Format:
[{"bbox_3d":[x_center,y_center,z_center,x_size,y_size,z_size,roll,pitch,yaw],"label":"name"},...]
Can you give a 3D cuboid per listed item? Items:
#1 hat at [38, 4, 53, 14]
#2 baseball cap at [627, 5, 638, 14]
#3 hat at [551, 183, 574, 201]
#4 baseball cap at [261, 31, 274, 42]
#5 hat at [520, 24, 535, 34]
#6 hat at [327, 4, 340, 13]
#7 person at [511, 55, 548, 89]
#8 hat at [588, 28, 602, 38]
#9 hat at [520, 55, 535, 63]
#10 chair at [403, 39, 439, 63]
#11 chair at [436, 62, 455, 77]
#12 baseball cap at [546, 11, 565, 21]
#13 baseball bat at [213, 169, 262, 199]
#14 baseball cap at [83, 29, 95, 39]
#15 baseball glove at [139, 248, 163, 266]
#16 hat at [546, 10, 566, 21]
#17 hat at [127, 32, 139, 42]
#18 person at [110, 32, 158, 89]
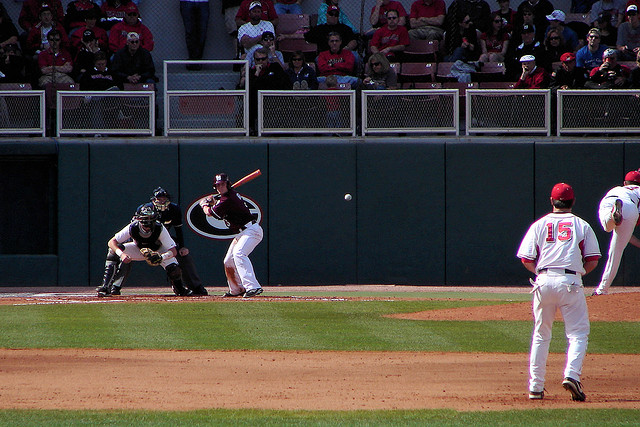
[{"bbox_3d":[-6.563,-4.906,35.579,0.344,0.174,0.328,0,-3,1],"label":"hat"},{"bbox_3d":[7.497,-4.885,35.561,0.236,0.227,0.318,0,3,11],"label":"baseball cap"},{"bbox_3d":[4.227,-0.359,25.846,0.343,0.277,0.353,0,3,6],"label":"hat"},{"bbox_3d":[-1.195,-4.141,34.566,0.277,0.211,0.327,0,3,-2],"label":"baseball cap"},{"bbox_3d":[4.925,-4.356,35.182,0.310,0.238,0.478,0,3,7],"label":"hat"},{"bbox_3d":[0.346,-4.983,36.106,0.297,0.240,0.552,0,3,-1],"label":"hat"},{"bbox_3d":[4.888,-3.262,34.246,0.743,0.741,0.292,0,3,6],"label":"person"},{"bbox_3d":[6.453,-4.213,34.801,0.420,0.169,0.589,9,0,11],"label":"hat"},{"bbox_3d":[4.816,-3.570,34.356,0.315,0.191,0.467,0,3,7],"label":"hat"},{"bbox_3d":[2.478,-4.017,36.072,0.933,0.562,0.531,1,-1,6],"label":"chair"},{"bbox_3d":[3.030,-3.445,35.587,0.389,0.425,0.331,1,15,1],"label":"chair"},{"bbox_3d":[5.637,-4.681,35.250,0.333,0.151,0.204,-1,32,-3],"label":"baseball cap"},{"bbox_3d":[-1.828,-0.648,32.646,1.164,0.178,0.146,-28,6,4],"label":"baseball bat"},{"bbox_3d":[-5.406,-4.205,34.863,0.268,0.254,0.497,-1,3,-7],"label":"baseball cap"},{"bbox_3d":[-3.509,0.873,31.028,0.421,0.161,0.310,33,-15,35],"label":"baseball glove"},{"bbox_3d":[5.644,-4.689,35.278,0.361,0.172,0.219,-3,28,-5],"label":"hat"},{"bbox_3d":[-4.334,-4.124,34.615,0.261,0.196,0.362,-1,3,-7],"label":"hat"},{"bbox_3d":[-4.413,-3.351,34.802,1.119,1.701,0.936,-8,21,-26],"label":"person"}]
